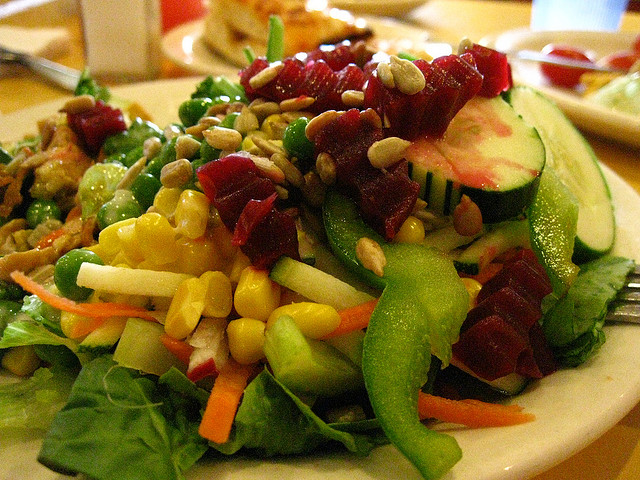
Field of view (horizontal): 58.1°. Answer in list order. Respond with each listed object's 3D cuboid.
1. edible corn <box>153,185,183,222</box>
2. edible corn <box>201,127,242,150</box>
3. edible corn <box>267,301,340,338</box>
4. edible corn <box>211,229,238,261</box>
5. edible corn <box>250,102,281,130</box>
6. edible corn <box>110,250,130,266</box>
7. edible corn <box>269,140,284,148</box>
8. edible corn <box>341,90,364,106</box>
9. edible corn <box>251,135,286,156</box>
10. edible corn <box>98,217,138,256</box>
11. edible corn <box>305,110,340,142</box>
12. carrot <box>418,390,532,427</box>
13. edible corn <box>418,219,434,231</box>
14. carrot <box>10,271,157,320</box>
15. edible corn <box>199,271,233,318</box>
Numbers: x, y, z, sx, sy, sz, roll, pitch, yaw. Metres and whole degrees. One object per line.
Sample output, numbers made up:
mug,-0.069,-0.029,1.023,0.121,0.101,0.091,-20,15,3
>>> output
edible corn,-0.435,-0.103,1.652,0.088,0.093,0.050,1,-5,11
edible corn,-0.266,-0.278,1.606,0.079,0.038,0.062,15,14,25
edible corn,-0.038,0.192,1.469,0.160,0.094,0.105,-7,16,-34
edible corn,-0.265,0.008,1.619,0.046,0.084,0.070,-36,-3,26
edible corn,-0.165,-0.381,1.749,0.080,0.047,0.068,-4,6,-11
edible corn,-0.569,0.054,1.625,0.043,0.044,0.019,-2,-12,21
edible corn,-0.125,-0.280,1.654,0.034,0.010,0.035,27,18,29
edible corn,0.089,-0.400,1.609,0.045,0.024,0.048,3,31,6
edible corn,-0.145,-0.259,1.597,0.088,0.021,0.050,30,26,11
edible corn,-0.585,-0.019,1.661,0.080,0.142,0.033,35,9,-15
edible corn,0.007,-0.306,1.537,0.076,0.025,0.081,-20,-17,8
carrot,0.368,0.416,1.485,0.322,0.068,0.100,7,5,14
edible corn,0.305,-0.041,1.644,0.029,0.008,0.031,22,-22,29
carrot,-0.627,0.154,1.559,0.280,0.048,0.052,18,31,-9
edible corn,-0.273,0.144,1.528,0.090,0.119,0.038,1,-2,-39
